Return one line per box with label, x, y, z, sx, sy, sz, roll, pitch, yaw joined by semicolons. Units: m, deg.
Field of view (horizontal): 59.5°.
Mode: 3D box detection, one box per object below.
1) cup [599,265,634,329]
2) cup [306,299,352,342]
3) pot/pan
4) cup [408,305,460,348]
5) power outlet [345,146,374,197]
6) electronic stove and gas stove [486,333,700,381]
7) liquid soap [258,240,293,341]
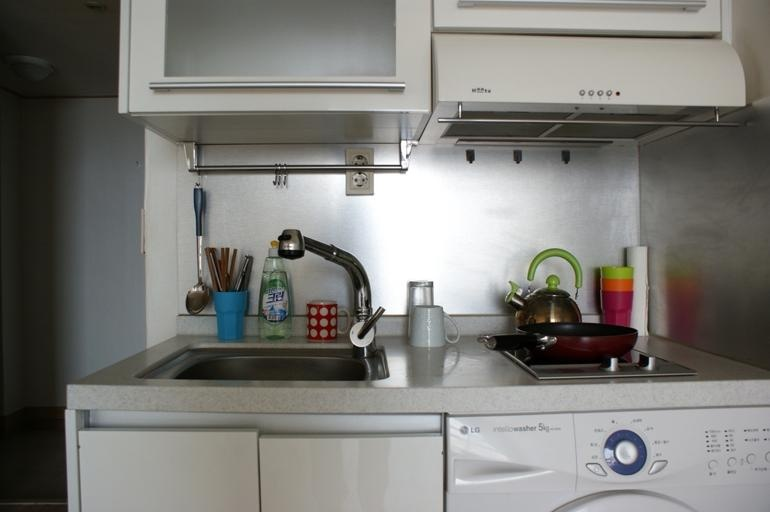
cup;0.973;0.162;2.836;0.119;0.265;0.105;2;5;3
cup;-0.247;0.269;2.913;0.183;0.180;0.149;1;-2;-15
pot/pan;0.666;0.298;2.808;0.686;0.122;0.567;2;3;-1
cup;0.212;0.272;2.824;0.207;0.168;0.214;2;7;0
power outlet;-0.104;-0.364;2.909;0.129;0.202;0.057;-2;15;0
electronic stove and gas stove;0.793;0.383;2.519;0.666;0.065;0.273;-2;15;-1
liquid soap;-0.442;0.143;2.827;0.137;0.396;0.146;1;5;-7
